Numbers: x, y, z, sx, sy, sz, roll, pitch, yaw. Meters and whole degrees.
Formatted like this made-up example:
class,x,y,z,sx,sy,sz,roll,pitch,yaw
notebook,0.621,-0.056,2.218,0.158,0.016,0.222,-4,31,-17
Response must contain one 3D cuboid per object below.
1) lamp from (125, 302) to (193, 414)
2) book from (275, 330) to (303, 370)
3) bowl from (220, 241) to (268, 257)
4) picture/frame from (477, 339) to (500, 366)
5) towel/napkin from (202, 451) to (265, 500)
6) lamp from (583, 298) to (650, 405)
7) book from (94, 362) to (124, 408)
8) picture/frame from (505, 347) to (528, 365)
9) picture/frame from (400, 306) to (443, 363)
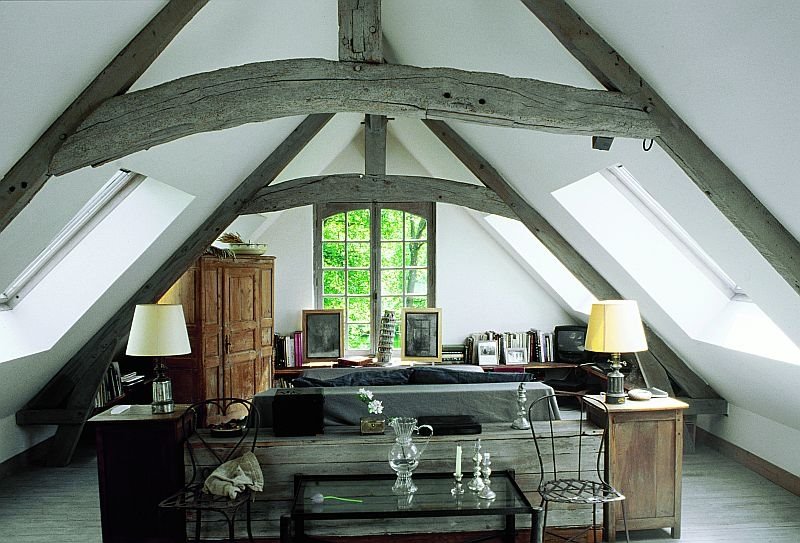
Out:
class,x,y,z,sx,sy,sz,roll,pitch,yaw
lamp,-2.004,0.718,5.802,0.432,0.893,0.406,-5,-10,36
book,-1.436,1.030,9.536,0.444,0.508,0.552,0,4,-4
bowl,-1.896,-0.267,8.627,0.331,0.109,0.316,-5,-3,0
picture/frame,1.209,1.099,9.382,0.306,0.337,0.197,2,-8,-7
towel/napkin,-1.282,1.584,5.388,0.386,0.154,0.361,-1,3,-10
lamp,1.934,0.704,6.159,0.481,0.882,0.909,-3,-9,22
book,-3.034,1.196,7.314,0.125,0.385,0.308,-4,-6,12
picture/frame,1.559,1.132,9.421,0.367,0.269,0.184,0,-5,-3
picture/frame,0.295,0.861,9.376,0.820,0.943,0.103,1,-2,-4
